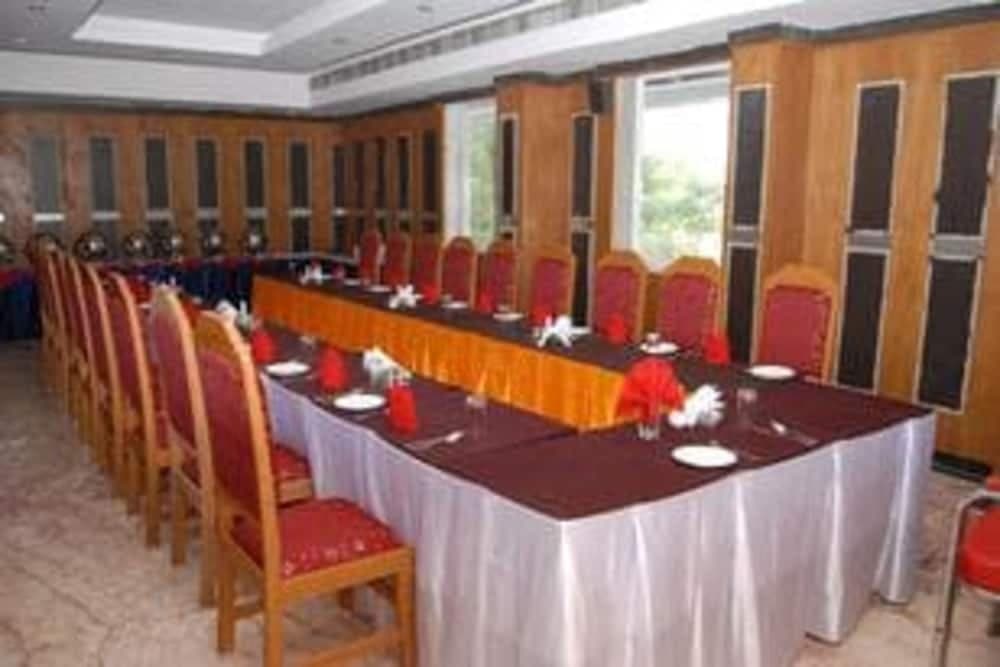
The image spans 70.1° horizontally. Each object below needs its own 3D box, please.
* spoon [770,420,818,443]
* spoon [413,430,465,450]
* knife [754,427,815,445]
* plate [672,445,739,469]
[{"bbox_3d":[1.418,0.475,3.467,0.067,0.044,0.251,-13,19,-15],"label":"spoon"},{"bbox_3d":[-0.286,0.515,3.409,0.265,0.046,0.080,-13,25,-30],"label":"spoon"},{"bbox_3d":[1.377,0.497,3.492,0.084,0.049,0.322,-12,8,-30],"label":"knife"},{"bbox_3d":[0.930,0.566,3.253,0.254,0.037,0.230,-8,13,-29],"label":"plate"}]
